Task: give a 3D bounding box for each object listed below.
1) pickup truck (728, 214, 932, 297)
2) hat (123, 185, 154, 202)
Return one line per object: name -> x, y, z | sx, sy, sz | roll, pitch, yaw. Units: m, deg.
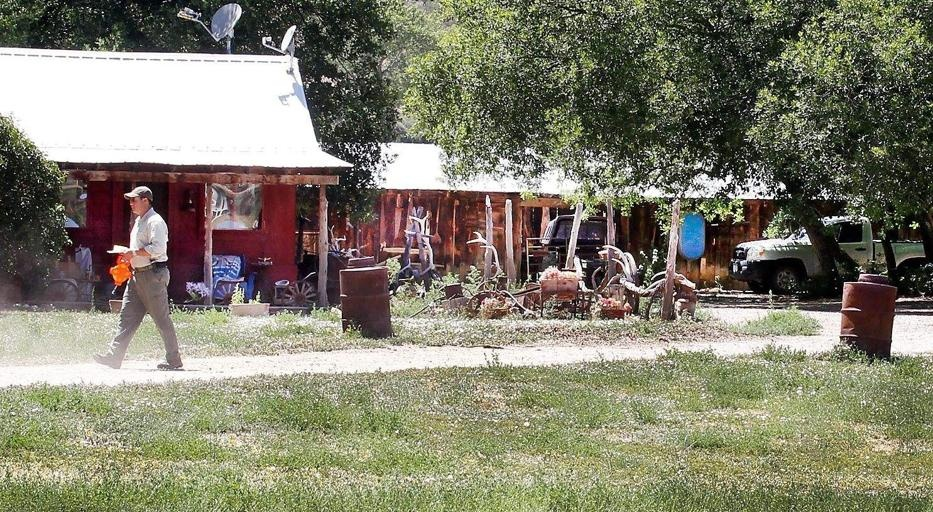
pickup truck -> 12.918, 0.015, 44.026 | 6.444, 2.445, 2.986 | 0, 1, -7
hat -> -7.863, -1.509, 29.026 | 0.495, 0.320, 0.433 | -1, 0, -28
